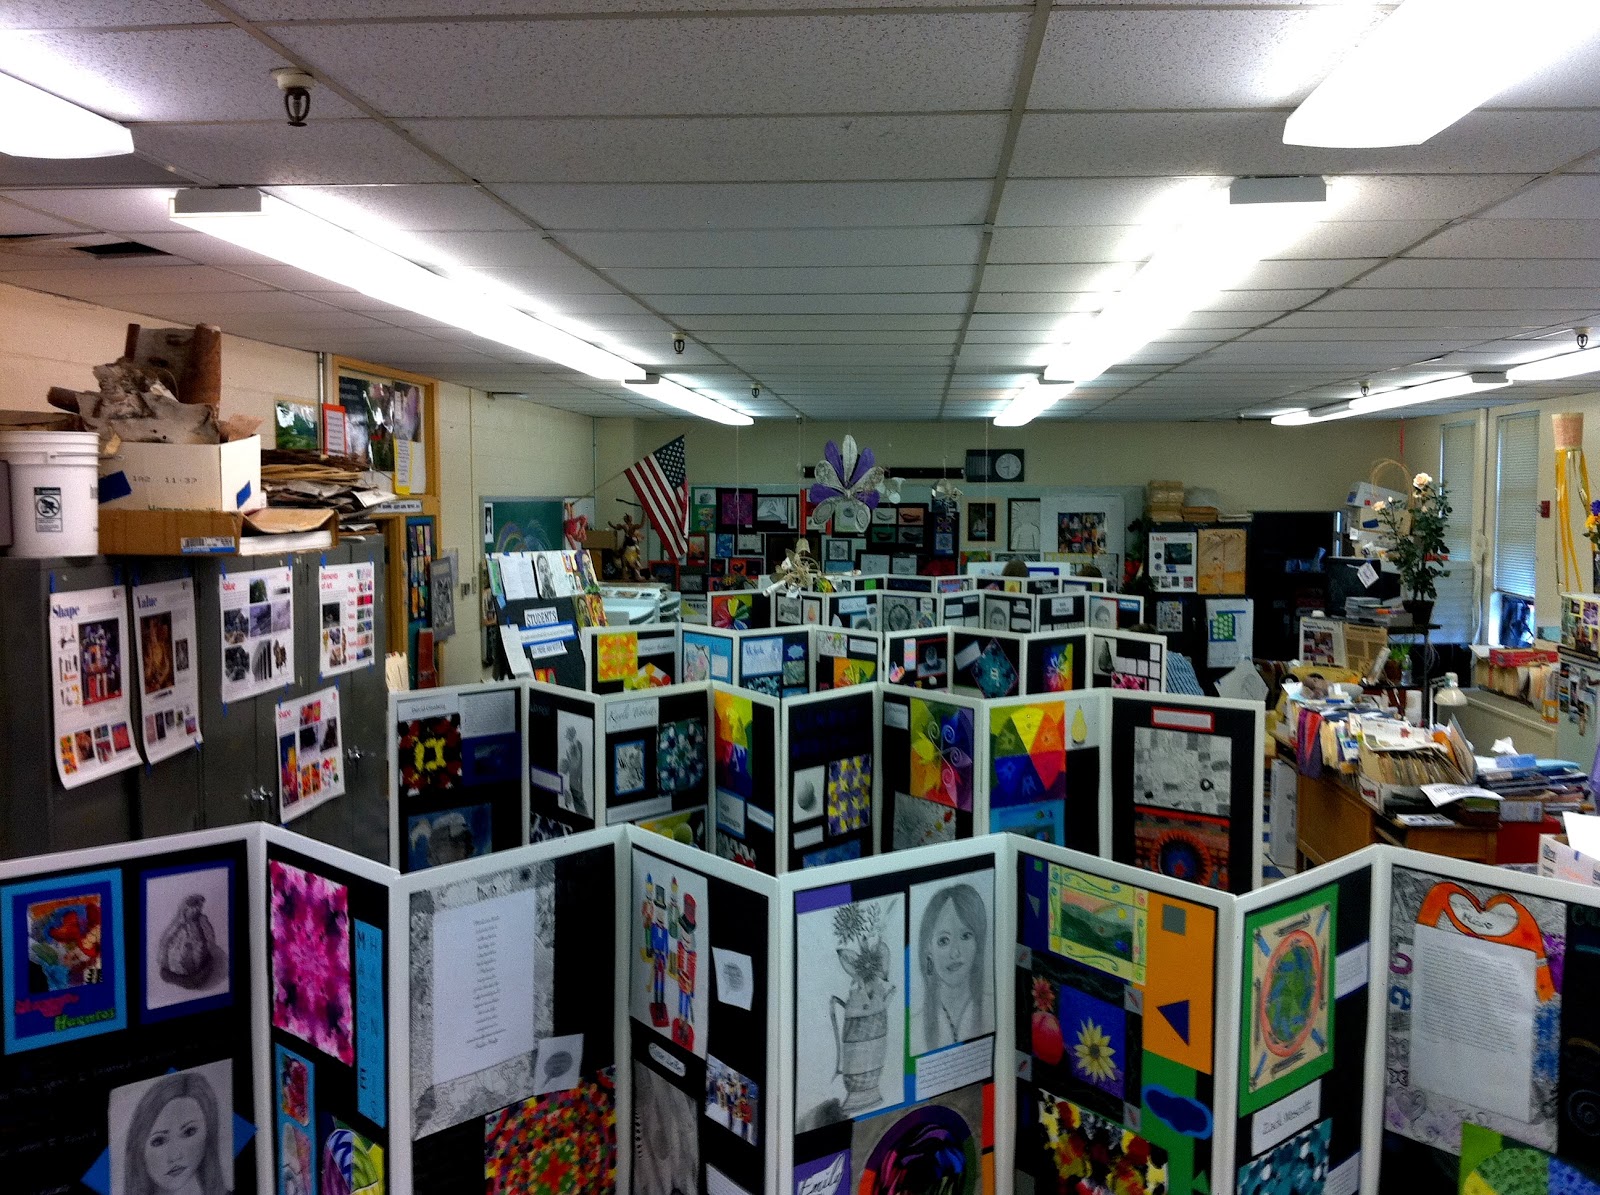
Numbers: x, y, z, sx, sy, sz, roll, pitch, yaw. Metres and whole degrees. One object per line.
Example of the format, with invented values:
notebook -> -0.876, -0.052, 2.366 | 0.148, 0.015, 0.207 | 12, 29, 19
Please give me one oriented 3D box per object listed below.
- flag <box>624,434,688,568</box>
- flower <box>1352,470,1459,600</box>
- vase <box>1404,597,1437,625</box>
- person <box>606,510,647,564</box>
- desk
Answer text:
flag -> -1.423, -0.940, 11.769 | 0.583, 1.415, 2.783 | 4, 9, -7
flower -> 5.039, -0.521, 9.694 | 0.606, 1.018, 1.345 | 8, 10, 22
vase -> 5.040, 0.135, 9.426 | 0.197, 0.240, 0.227 | 5, -5, 6
person -> -2.090, -0.719, 14.174 | 0.505, 1.020, 0.303 | 3, 16, 3
desk -> 2.885, 0.998, 5.639 | 0.332, 0.627, 0.997 | 0, 5, 2
